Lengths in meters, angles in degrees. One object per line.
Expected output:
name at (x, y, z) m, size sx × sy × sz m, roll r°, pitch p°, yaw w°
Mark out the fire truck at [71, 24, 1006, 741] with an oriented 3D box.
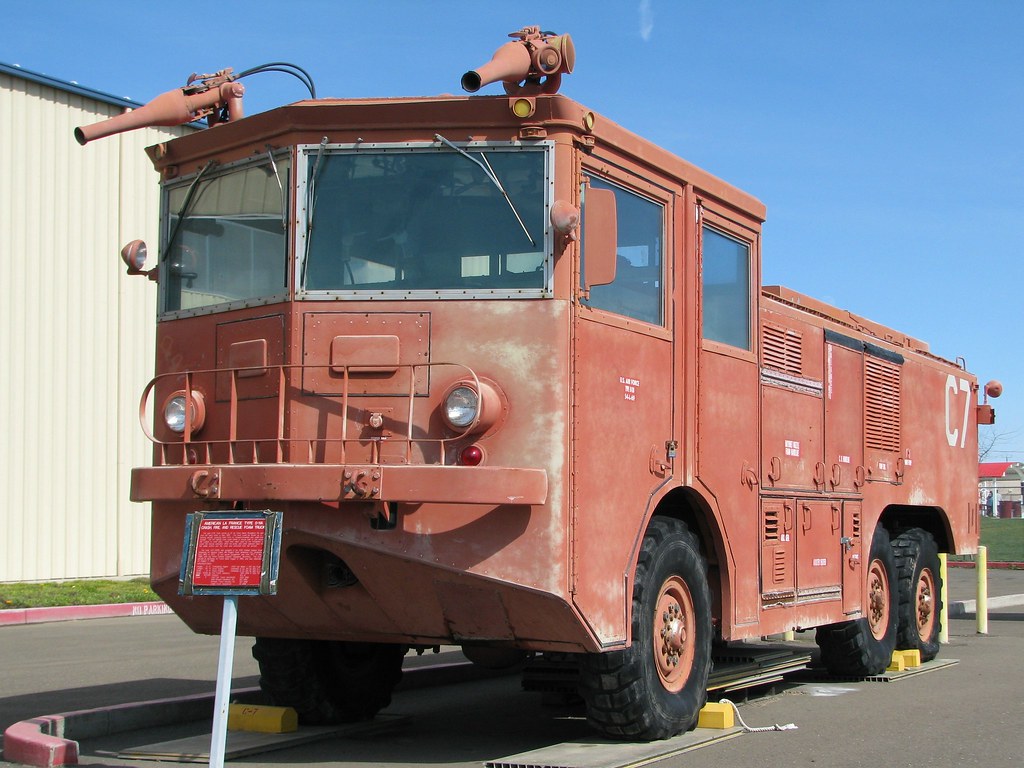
fire truck at (1.124, 0.477, 12.862) m, size 4.552 × 5.626 × 11.389 m, roll -4°, pitch -9°, yaw 31°
